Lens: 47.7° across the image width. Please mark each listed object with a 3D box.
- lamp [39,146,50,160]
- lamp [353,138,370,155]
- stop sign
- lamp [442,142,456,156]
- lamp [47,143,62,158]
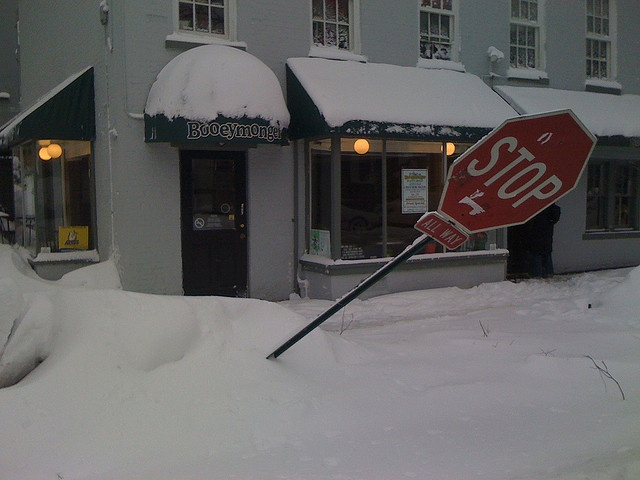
[{"bbox_3d":[-4.472,-1.373,11.647,0.164,0.259,0.173,-2,7,-23],"label":"lamp"},{"bbox_3d":[0.667,-1.488,11.674,0.212,0.252,0.054,4,5,-22],"label":"lamp"},{"bbox_3d":[1.740,-0.586,6.310,1.319,0.869,0.105,-33,8,14],"label":"stop sign"},{"bbox_3d":[2.255,-1.529,12.388,0.193,0.226,0.047,-1,3,-20],"label":"lamp"},{"bbox_3d":[-4.312,-1.415,11.640,0.188,0.255,0.199,-2,1,-18],"label":"lamp"}]
